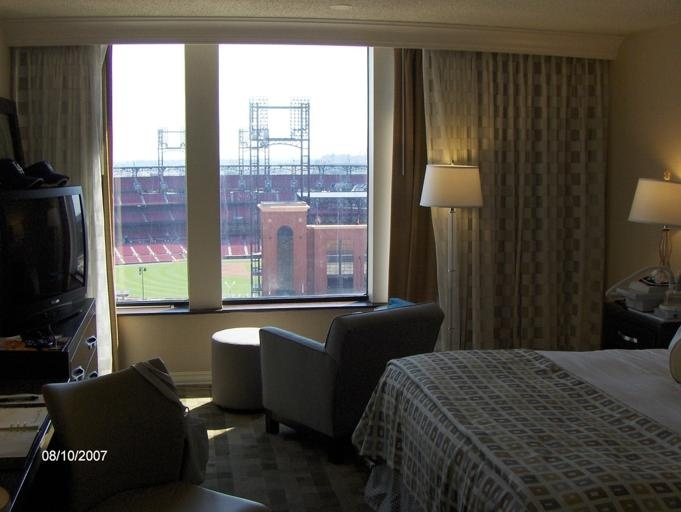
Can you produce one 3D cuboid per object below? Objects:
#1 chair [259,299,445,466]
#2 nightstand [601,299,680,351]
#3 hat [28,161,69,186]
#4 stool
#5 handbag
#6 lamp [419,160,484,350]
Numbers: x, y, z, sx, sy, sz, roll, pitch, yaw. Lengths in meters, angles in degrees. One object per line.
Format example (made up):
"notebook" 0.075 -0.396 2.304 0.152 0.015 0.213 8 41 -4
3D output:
"chair" 0.081 0.813 4.405 1.131 0.979 1.100 -2 5 -33
"nightstand" 2.337 0.572 4.655 0.312 0.402 0.574 2 2 -1
"hat" -2.098 -0.560 4.113 0.375 0.174 0.168 8 7 15
"stool" -0.846 0.937 4.907 0.456 0.557 0.476 4 6 -4
"handbag" -0.862 0.879 3.143 0.175 0.649 0.454 -6 -5 11
"lamp" 0.949 0.028 5.164 0.504 1.652 0.407 -1 10 1
